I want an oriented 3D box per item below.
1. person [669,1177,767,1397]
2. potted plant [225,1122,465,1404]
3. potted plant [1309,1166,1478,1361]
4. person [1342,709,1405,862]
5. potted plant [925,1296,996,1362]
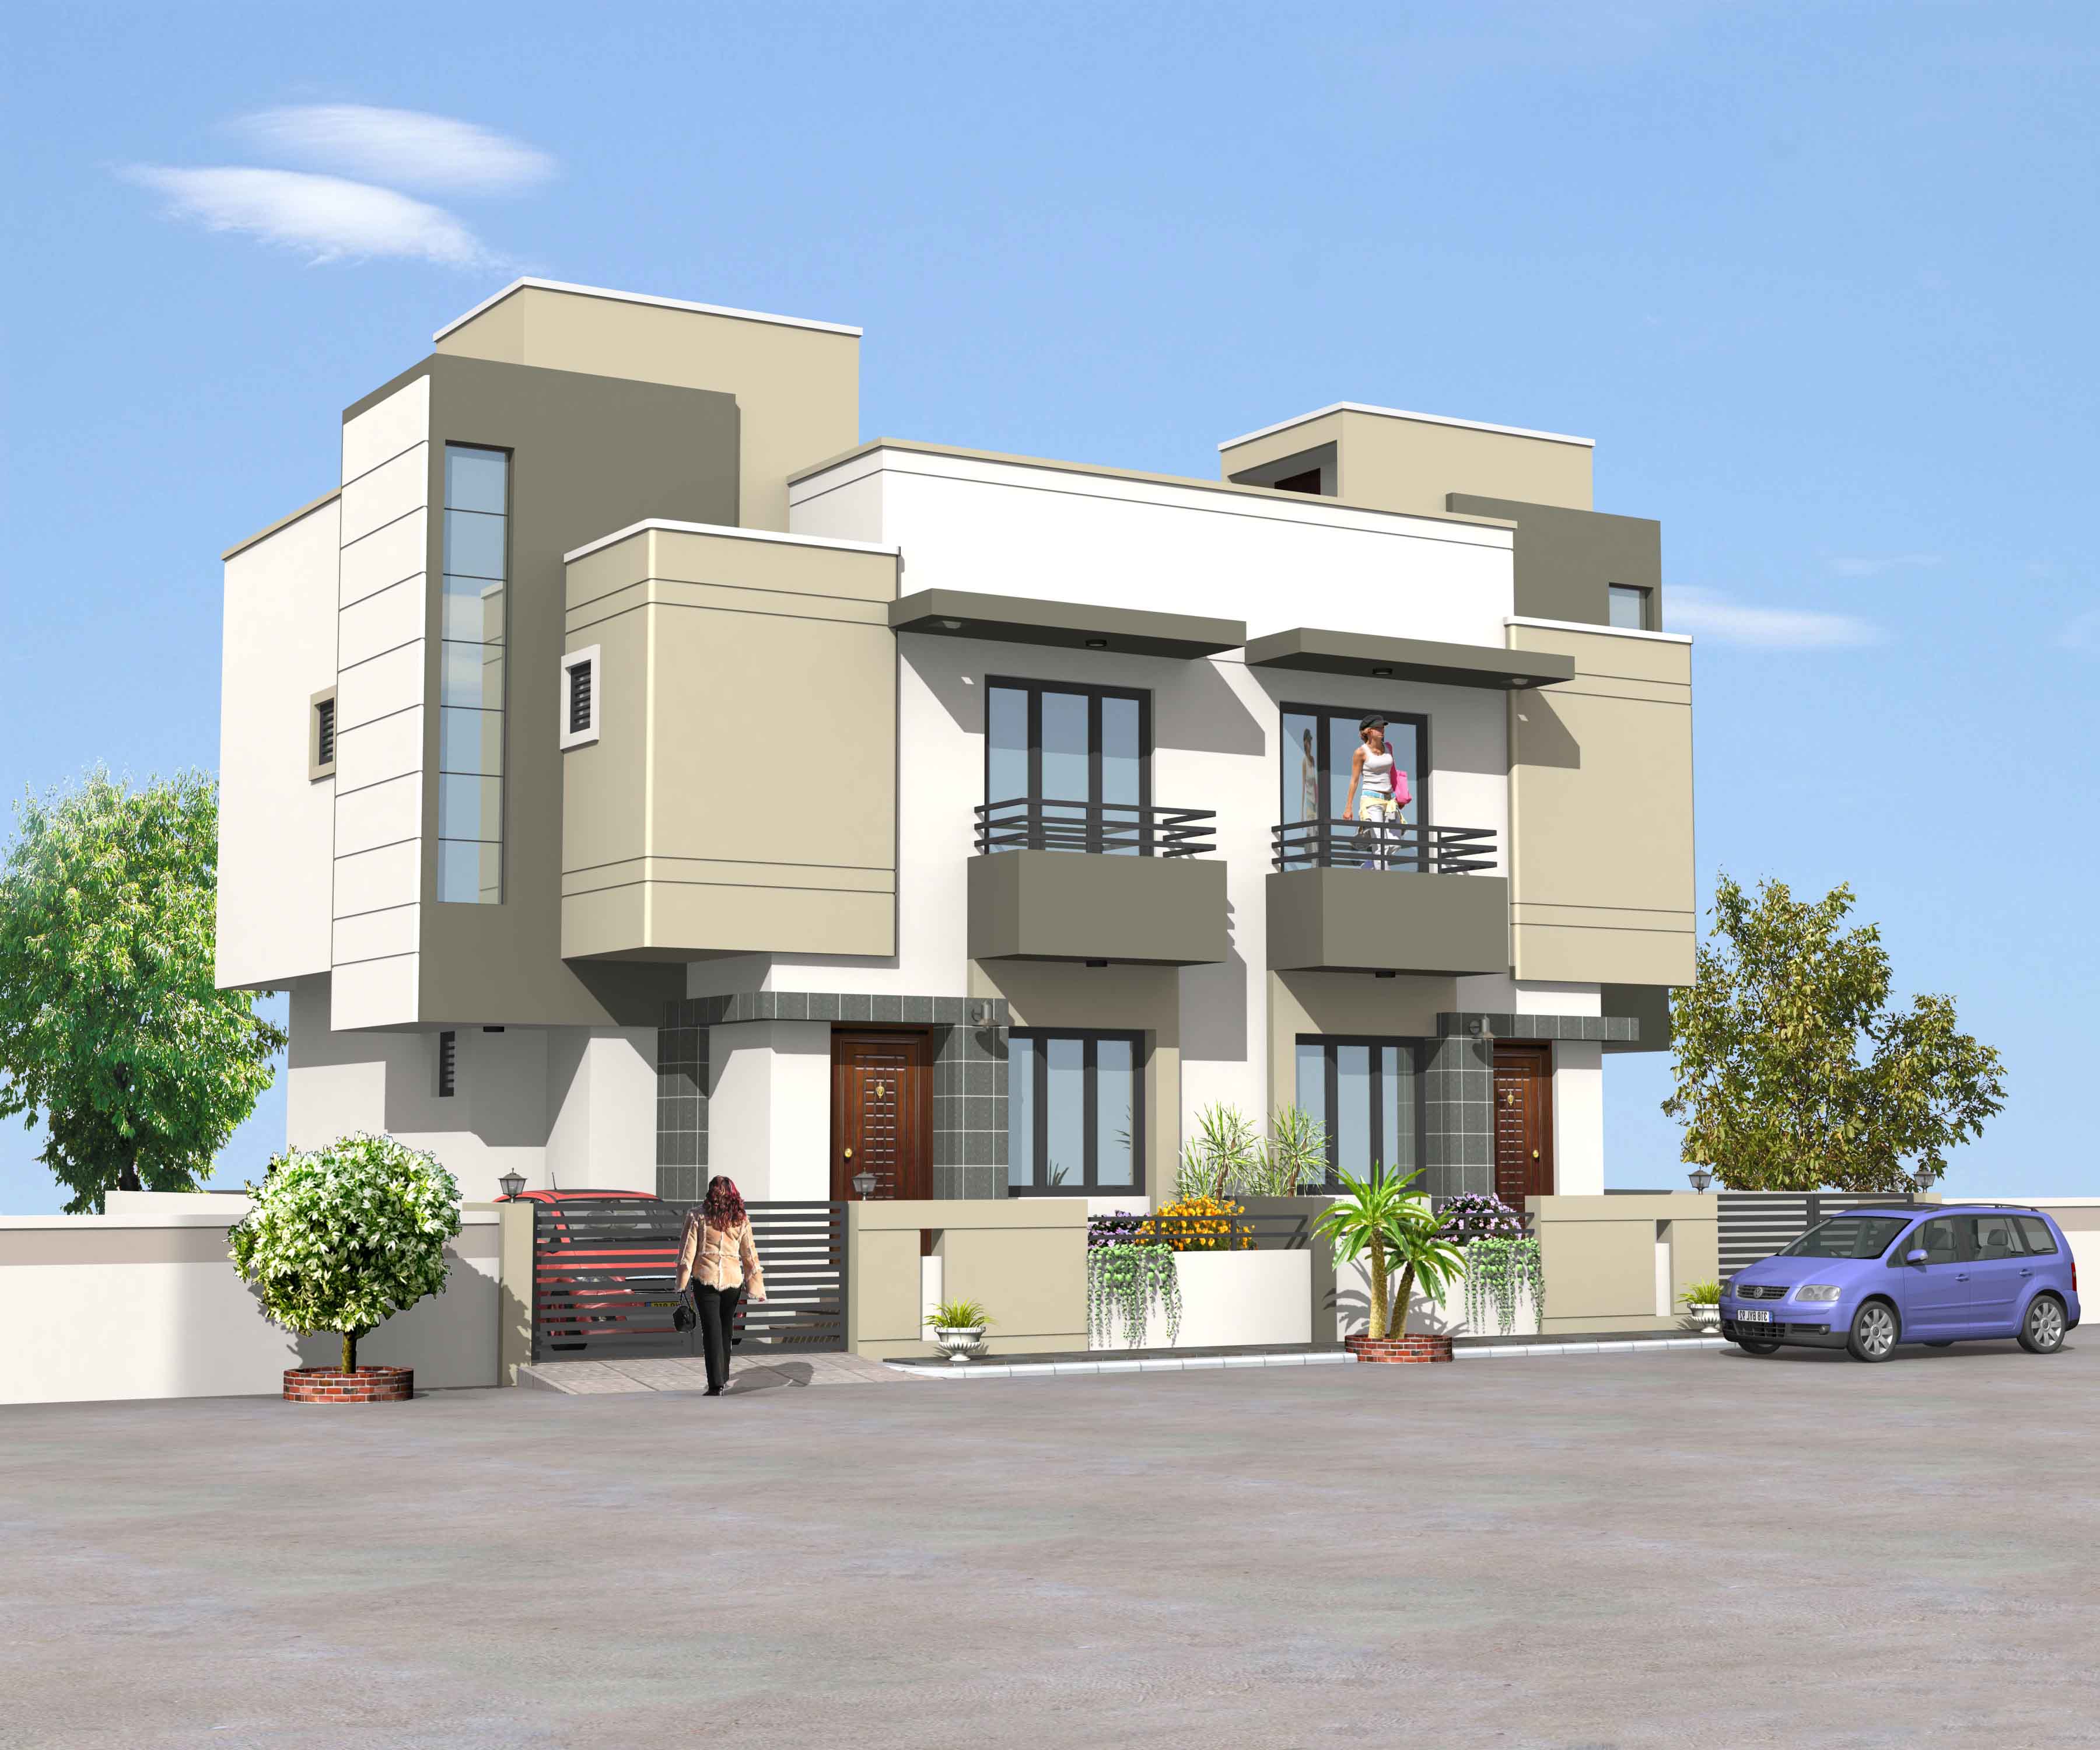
[{"bbox_3d":[-3.105,3.874,29.782,0.645,2.104,1.244,-1,-11,3],"label":"person"},{"bbox_3d":[-6.485,3.630,29.136,1.953,2.434,1.770,-6,6,-35],"label":"potted plant"},{"bbox_3d":[3.944,4.274,35.051,1.936,2.590,1.811,6,-7,-39],"label":"potted plant"},{"bbox_3d":[4.040,-1.027,39.693,0.751,1.893,0.812,-2,-10,7],"label":"person"},{"bbox_3d":[-0.949,4.829,33.360,0.516,0.463,0.495,3,-13,-14],"label":"potted plant"}]
